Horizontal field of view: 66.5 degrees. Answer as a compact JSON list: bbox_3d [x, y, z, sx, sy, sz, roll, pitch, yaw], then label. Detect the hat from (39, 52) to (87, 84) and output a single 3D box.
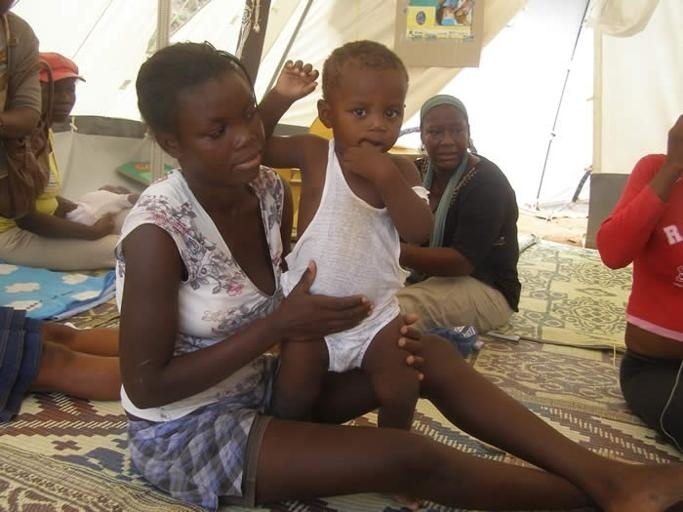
[{"bbox_3d":[-2.122,-1.404,3.903,0.363,0.136,0.263,15,19,14],"label":"hat"}]
